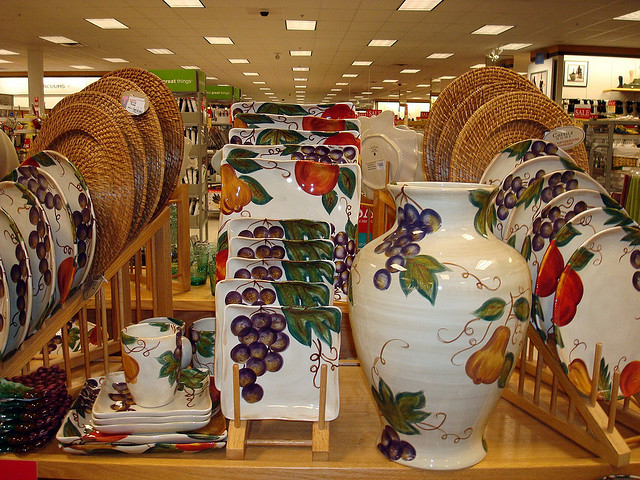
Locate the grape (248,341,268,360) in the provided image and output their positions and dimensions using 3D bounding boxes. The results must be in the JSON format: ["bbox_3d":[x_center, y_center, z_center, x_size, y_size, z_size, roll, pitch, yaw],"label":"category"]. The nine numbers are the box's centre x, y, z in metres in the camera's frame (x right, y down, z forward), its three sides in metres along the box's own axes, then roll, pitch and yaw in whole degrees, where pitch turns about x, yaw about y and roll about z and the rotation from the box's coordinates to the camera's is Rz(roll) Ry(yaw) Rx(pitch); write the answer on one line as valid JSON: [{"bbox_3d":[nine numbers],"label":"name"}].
[{"bbox_3d":[-0.162,0.291,1.356,0.040,0.030,0.043,2,-8,-9],"label":"grape"}]

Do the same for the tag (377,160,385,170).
[{"bbox_3d":[0.367,-0.454,3.155,0.049,0.058,0.007,-7,-12,36],"label":"tag"}]

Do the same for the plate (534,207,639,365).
[{"bbox_3d":[0.662,0.069,1.328,0.332,0.395,0.040,-10,11,-13],"label":"plate"}]

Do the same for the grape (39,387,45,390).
[{"bbox_3d":[-0.714,0.385,1.333,0.012,0.005,0.018,-10,20,-33],"label":"grape"}]

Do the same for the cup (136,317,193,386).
[{"bbox_3d":[-0.443,0.325,1.516,0.136,0.142,0.169,-1,-7,-1],"label":"cup"}]

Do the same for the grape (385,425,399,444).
[{"bbox_3d":[0.179,0.491,1.292,0.010,0.043,0.027,-8,-2,-26],"label":"grape"}]

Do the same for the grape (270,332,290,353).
[{"bbox_3d":[-0.102,0.275,1.361,0.045,0.053,0.027,1,6,7],"label":"grape"}]

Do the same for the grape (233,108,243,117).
[{"bbox_3d":[-0.322,-0.498,2.020,0.027,0.024,0.030,-2,2,-2],"label":"grape"}]

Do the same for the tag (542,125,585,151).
[{"bbox_3d":[0.740,-0.306,1.556,0.132,0.068,0.049,-2,14,-10],"label":"tag"}]

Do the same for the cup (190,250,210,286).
[{"bbox_3d":[-0.601,0.141,2.589,0.123,0.161,0.140,2,7,3],"label":"cup"}]

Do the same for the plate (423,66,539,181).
[{"bbox_3d":[0.443,-0.413,1.704,0.336,0.391,0.060,9,9,-9],"label":"plate"}]

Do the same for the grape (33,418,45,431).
[{"bbox_3d":[-0.708,0.474,1.312,0.024,0.031,0.010,-9,16,-34],"label":"grape"}]

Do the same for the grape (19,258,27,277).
[{"bbox_3d":[-0.781,0.075,1.368,0.014,0.046,0.020,-20,25,-40],"label":"grape"}]

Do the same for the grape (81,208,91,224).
[{"bbox_3d":[-0.667,-0.068,1.485,0.032,0.045,0.011,3,2,11],"label":"grape"}]

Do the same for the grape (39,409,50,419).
[{"bbox_3d":[-0.702,0.449,1.323,0.009,0.017,0.023,8,17,29],"label":"grape"}]

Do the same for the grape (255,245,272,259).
[{"bbox_3d":[-0.169,0.038,1.521,0.036,0.041,0.021,-20,15,0],"label":"grape"}]

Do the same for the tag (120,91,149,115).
[{"bbox_3d":[-0.562,-0.418,1.576,0.085,0.068,0.029,3,14,8],"label":"tag"}]

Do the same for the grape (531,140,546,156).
[{"bbox_3d":[0.660,-0.281,1.583,0.035,0.040,0.020,19,13,23],"label":"grape"}]

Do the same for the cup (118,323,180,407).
[{"bbox_3d":[-0.449,0.363,1.429,0.146,0.197,0.156,-1,-3,0],"label":"cup"}]

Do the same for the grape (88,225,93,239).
[{"bbox_3d":[-0.657,-0.020,1.487,0.023,0.042,0.008,14,19,43],"label":"grape"}]

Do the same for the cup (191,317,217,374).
[{"bbox_3d":[-0.357,0.351,1.602,0.072,0.158,0.183,-3,16,-14],"label":"cup"}]
